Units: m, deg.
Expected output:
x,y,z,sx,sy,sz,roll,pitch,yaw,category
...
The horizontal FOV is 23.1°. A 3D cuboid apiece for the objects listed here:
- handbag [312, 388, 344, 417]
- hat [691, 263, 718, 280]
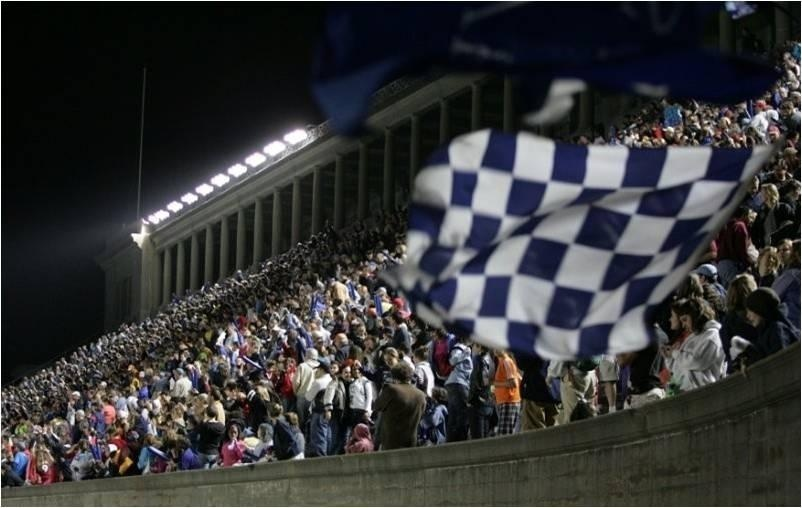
x,y,z,sx,sy,sz,roll,pitch,yaw,category
-2.519,5.152,68.431,0.840,0.810,0.460,20,-2,-12,handbag
10.210,0.618,65.691,0.667,0.339,0.476,22,11,20,hat
